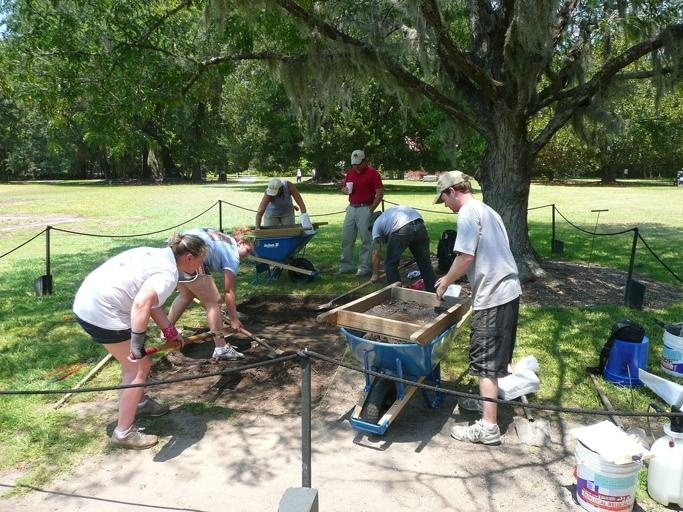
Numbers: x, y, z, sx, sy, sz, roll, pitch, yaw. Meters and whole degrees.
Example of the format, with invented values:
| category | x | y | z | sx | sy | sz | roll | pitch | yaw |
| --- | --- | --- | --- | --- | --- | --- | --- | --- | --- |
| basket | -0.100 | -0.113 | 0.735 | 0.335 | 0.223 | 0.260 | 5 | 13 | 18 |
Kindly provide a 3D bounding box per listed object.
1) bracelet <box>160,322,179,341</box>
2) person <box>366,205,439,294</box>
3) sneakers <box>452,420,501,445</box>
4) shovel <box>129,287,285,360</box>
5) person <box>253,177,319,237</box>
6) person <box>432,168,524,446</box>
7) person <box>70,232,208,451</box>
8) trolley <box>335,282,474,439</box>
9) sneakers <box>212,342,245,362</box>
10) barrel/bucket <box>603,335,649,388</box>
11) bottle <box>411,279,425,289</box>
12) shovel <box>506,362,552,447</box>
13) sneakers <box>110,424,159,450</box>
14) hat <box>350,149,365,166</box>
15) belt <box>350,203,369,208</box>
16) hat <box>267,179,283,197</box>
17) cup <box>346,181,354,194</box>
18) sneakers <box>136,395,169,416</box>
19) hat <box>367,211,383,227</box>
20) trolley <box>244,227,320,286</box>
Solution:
| category | x | y | z | sx | sy | sz | roll | pitch | yaw |
| --- | --- | --- | --- | --- | --- | --- | --- | --- | --- |
| bracelet | -1.765 | 0.768 | 6.135 | 0.160 | 0.173 | 0.163 | 4 | 1 | -3 |
| person | 0.891 | -0.118 | 9.036 | 1.091 | 1.360 | 0.901 | 11 | 26 | 41 |
| sneakers | 1.422 | 1.834 | 6.307 | 0.536 | 0.248 | 0.220 | 4 | 3 | 11 |
| shovel | -1.494 | 0.865 | 6.826 | 0.079 | 0.614 | 1.655 | 36 | 22 | 35 |
| person | -1.004 | -0.660 | 10.754 | 0.881 | 1.675 | 1.109 | 0 | 26 | 4 |
| person | 1.415 | 0.512 | 6.285 | 0.817 | 2.795 | 0.874 | 6 | 12 | 34 |
| person | -2.065 | 0.860 | 6.144 | 0.991 | 2.163 | 0.882 | 5 | 11 | 30 |
| trolley | 0.774 | 1.042 | 6.755 | 1.070 | 0.984 | 1.789 | 5 | 14 | 31 |
| sneakers | -1.453 | 1.217 | 7.611 | 0.376 | 0.201 | 0.186 | 3 | 2 | -8 |
| barrel/bucket | 3.342 | 1.212 | 7.149 | 0.477 | 0.536 | 0.536 | 0 | 10 | -25 |
| bottle | 1.297 | 0.464 | 9.975 | 0.173 | 0.105 | 0.235 | -1 | 3 | 20 |
| shovel | 2.044 | 1.593 | 6.461 | 0.333 | 0.163 | 1.095 | 1 | 39 | 3 |
| sneakers | -2.126 | 1.857 | 6.092 | 0.435 | 0.216 | 0.219 | 3 | 3 | -13 |
| hat | 0.308 | -1.827 | 10.796 | 0.197 | 0.172 | 0.310 | 4 | 36 | 9 |
| belt | 0.337 | -0.938 | 10.920 | 0.336 | 0.068 | 0.056 | 5 | 11 | 31 |
| hat | -1.189 | -1.219 | 10.496 | 0.217 | 0.329 | 0.383 | 1 | 10 | 13 |
| cup | 0.159 | -1.248 | 10.860 | 0.115 | 0.236 | 0.165 | 4 | 11 | 26 |
| sneakers | -2.091 | 1.634 | 6.577 | 0.387 | 0.192 | 0.165 | 0 | 4 | -9 |
| hat | 0.557 | -0.634 | 9.947 | 0.180 | 0.304 | 0.336 | 20 | 20 | 21 |
| trolley | -1.009 | -0.025 | 10.332 | 1.177 | 0.853 | 0.760 | -1 | 5 | 3 |
